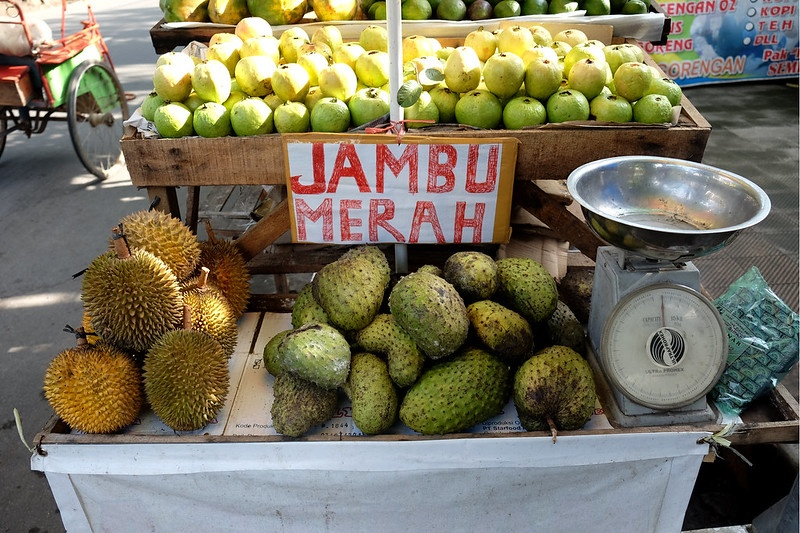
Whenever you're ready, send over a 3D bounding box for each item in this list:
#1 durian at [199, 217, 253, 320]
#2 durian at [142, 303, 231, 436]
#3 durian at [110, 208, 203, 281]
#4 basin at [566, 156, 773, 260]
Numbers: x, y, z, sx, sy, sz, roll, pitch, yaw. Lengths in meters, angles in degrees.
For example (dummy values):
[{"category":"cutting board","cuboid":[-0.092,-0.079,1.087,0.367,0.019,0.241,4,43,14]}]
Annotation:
[{"category":"durian","cuboid":[-1.021,0.032,3.803,0.282,0.300,0.546,-32,75,11]},{"category":"durian","cuboid":[-1.136,0.539,3.361,0.382,0.367,0.567,1,34,-21]},{"category":"durian","cuboid":[-1.350,-0.214,3.599,0.393,0.420,0.417,-8,30,-44]},{"category":"basin","cuboid":[1.377,-0.348,3.229,0.710,0.256,0.710,-3,32,2]}]
